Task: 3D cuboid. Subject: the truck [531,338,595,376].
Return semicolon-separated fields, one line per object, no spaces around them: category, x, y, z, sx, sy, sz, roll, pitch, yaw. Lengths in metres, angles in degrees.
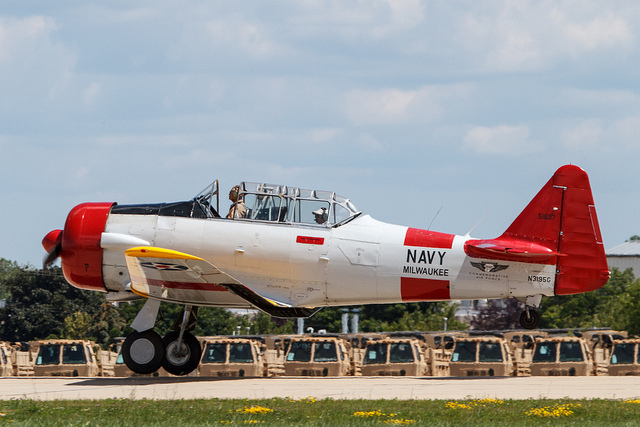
truck;11.332;6.874;60.520;2.939;2.285;4.429;-3;-7;16

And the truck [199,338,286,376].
truck;-3.530;7.096;60.699;3.028;2.032;5.463;-3;-8;10

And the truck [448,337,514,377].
truck;7.804;6.923;60.421;2.794;2.080;4.423;-2;-9;21

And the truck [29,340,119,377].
truck;-11.291;6.792;60.342;3.969;1.856;4.402;0;0;-2
